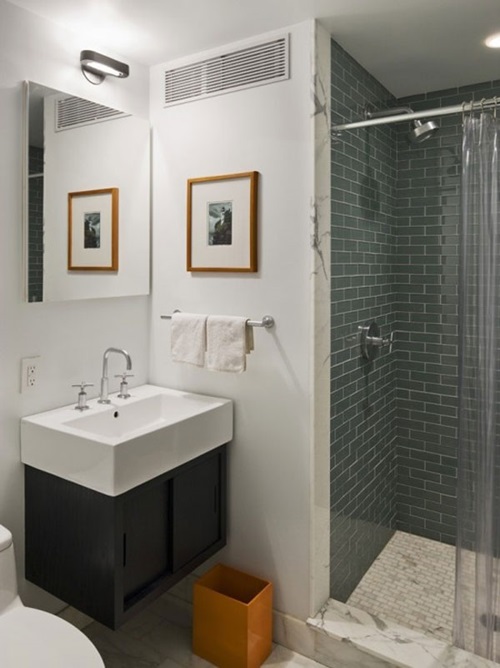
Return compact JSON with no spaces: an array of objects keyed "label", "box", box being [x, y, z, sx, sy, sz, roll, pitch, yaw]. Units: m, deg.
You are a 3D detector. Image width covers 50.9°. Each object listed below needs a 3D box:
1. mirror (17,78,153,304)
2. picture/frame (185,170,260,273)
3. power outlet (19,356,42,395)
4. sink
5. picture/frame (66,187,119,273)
[{"label":"mirror","box":[-0.614,-0.523,2.099,0.063,0.872,0.735,7,-1,27]},{"label":"picture/frame","box":[-0.096,-0.457,2.116,0.362,0.458,0.030,2,3,37]},{"label":"power outlet","box":[-0.795,0.148,1.904,0.015,0.162,0.126,3,-1,22]},{"label":"sink","box":[-0.447,0.376,2.026,0.522,0.379,0.681,10,0,33]},{"label":"picture/frame","box":[-0.629,-0.417,2.084,0.039,0.462,0.286,8,11,34]}]
